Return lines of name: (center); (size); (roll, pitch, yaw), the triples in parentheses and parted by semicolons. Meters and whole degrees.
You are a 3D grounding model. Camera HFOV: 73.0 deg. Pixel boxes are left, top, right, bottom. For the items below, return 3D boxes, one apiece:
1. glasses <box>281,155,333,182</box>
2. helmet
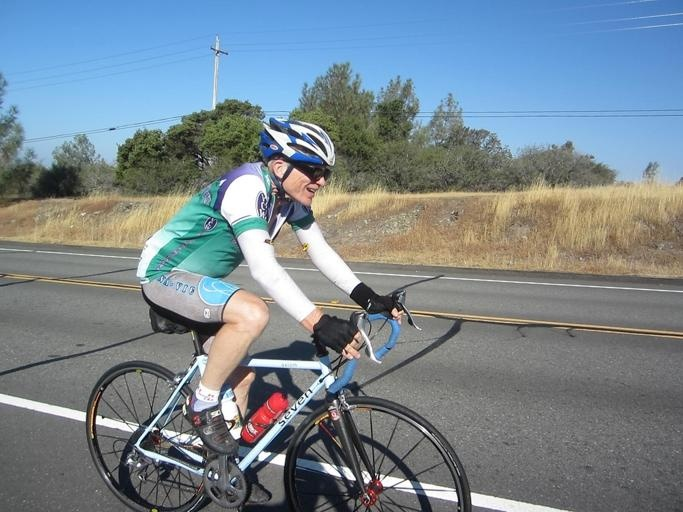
glasses: (-0.229, -0.577, 3.145); (0.205, 0.094, 0.176); (2, -1, 22)
helmet: (-0.307, -0.771, 3.141); (0.502, 0.325, 0.356); (-1, 11, -7)
